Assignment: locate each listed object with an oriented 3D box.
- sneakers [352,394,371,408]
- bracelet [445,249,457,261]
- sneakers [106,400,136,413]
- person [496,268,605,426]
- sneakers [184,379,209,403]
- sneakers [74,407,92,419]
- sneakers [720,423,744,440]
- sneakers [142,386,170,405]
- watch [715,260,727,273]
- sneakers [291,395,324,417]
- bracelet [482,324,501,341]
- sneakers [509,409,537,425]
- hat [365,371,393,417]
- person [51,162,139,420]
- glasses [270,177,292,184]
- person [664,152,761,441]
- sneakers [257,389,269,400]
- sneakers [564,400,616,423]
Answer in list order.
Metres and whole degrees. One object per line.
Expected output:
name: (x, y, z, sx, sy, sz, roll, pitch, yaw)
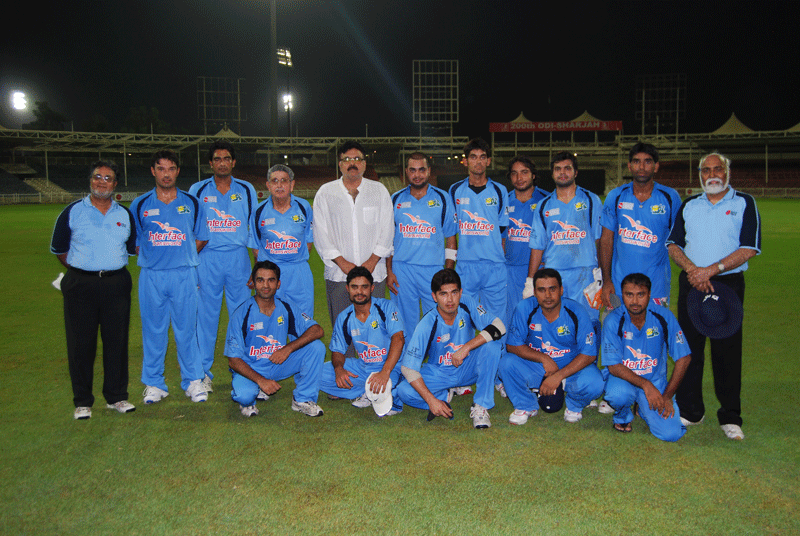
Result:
sneakers: (-0.397, 1.404, 7.558, 0.097, 0.105, 0.232, -2, -20, 28)
bracelet: (0.603, -0.153, 8.490, 0.127, 0.102, 0.131, 5, 6, 26)
sneakers: (-2.869, 1.420, 7.383, 0.277, 0.125, 0.120, -2, 4, 13)
person: (1.538, 0.762, 7.316, 1.048, 1.515, 0.550, -1, 6, 6)
sneakers: (-2.180, 1.319, 7.735, 0.234, 0.190, 0.316, -4, 7, -24)
sneakers: (-3.208, 1.453, 7.211, 0.168, 0.116, 0.180, -4, 7, -25)
sneakers: (3.157, 1.546, 6.778, 0.202, 0.122, 0.158, 2, 7, 27)
sneakers: (-2.626, 1.355, 7.624, 0.126, 0.138, 0.296, -4, -19, 0)
watch: (3.112, -0.019, 6.926, 0.116, 0.112, 0.070, 21, 8, -27)
sneakers: (-0.954, 1.426, 7.393, 0.305, 0.134, 0.150, 6, 3, 21)
bracelet: (0.967, 0.670, 7.444, 0.165, 0.128, 0.166, -8, 6, 7)
sneakers: (1.227, 1.505, 7.214, 0.109, 0.133, 0.313, -7, -16, 33)
hat: (-0.206, 1.274, 7.259, 0.259, 0.415, 0.136, -15, -10, 30)
person: (-3.113, 0.205, 7.362, 0.810, 2.556, 0.564, -4, 6, -26)
glasses: (-1.336, -0.974, 7.986, 0.215, 0.062, 0.061, -4, 6, -24)
person: (3.075, 0.211, 7.053, 0.815, 2.684, 0.764, 1, 6, 25)
sneakers: (-1.482, 1.382, 7.721, 0.098, 0.047, 0.131, -3, 31, -44)
sneakers: (1.892, 1.470, 7.343, 0.587, 0.261, 0.193, -5, 3, -13)
